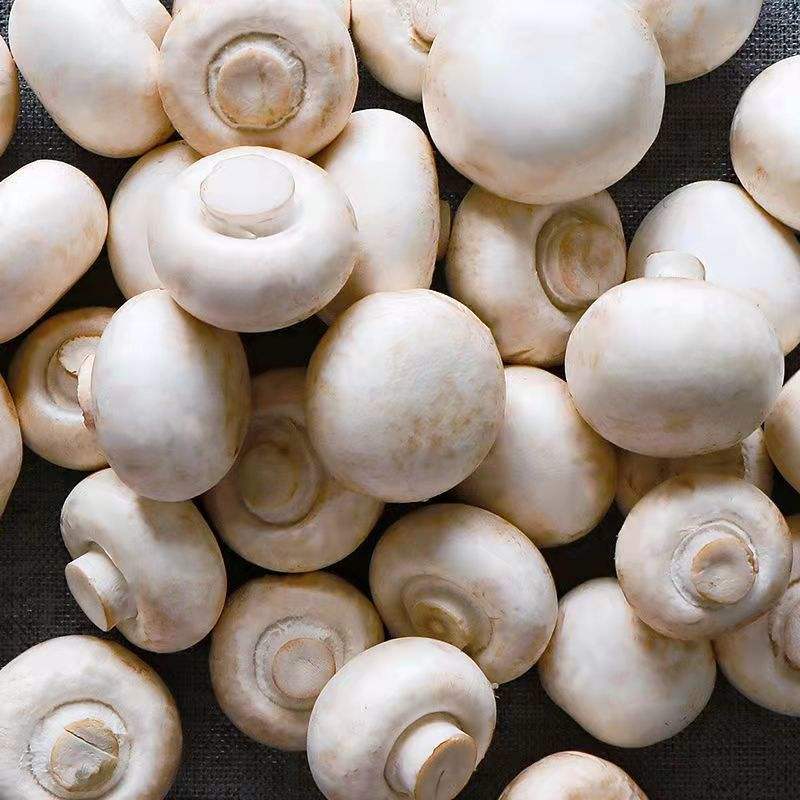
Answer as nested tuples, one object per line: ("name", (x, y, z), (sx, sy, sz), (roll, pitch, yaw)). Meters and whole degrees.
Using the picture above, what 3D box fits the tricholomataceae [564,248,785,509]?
("tricholomataceae", (0.213, -0.021, 0.943), (0.138, 0.146, 0.146), (1, 69, -2))

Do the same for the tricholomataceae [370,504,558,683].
("tricholomataceae", (0.058, 0.176, 0.979), (0.147, 0.162, 0.062), (11, 36, 26))

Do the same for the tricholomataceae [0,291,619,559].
("tricholomataceae", (-0.009, 0.023, 0.929), (0.396, 0.209, 0.151), (-5, 58, -5))

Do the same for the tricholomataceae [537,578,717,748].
("tricholomataceae", (0.191, 0.228, 1.005), (0.132, 0.072, 0.133), (-44, 83, -2))
